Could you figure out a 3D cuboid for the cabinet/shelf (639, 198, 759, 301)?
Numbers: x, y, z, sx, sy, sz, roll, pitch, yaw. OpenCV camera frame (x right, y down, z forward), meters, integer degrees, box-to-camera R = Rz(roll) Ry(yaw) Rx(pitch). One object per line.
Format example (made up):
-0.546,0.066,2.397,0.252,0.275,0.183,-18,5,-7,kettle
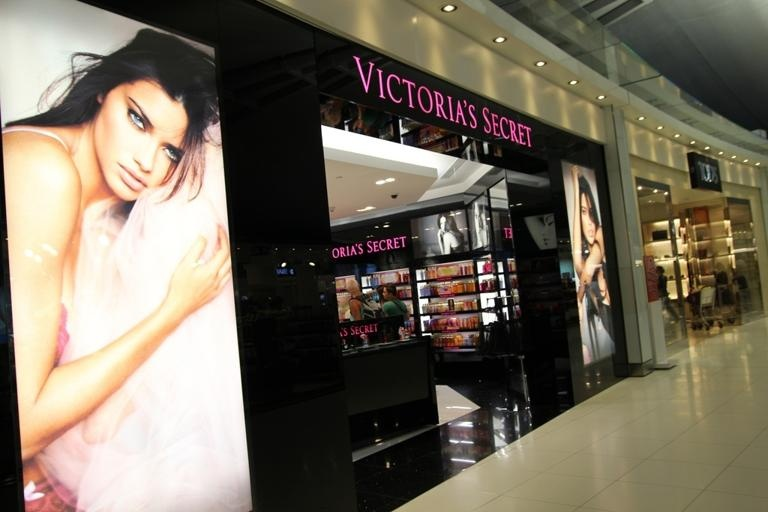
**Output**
7.179,-0.120,12.460,2.495,2.194,0.773,4,-9,-25,cabinet/shelf

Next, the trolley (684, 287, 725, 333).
7.697,1.188,13.066,0.871,1.051,0.547,-6,0,-22,trolley
